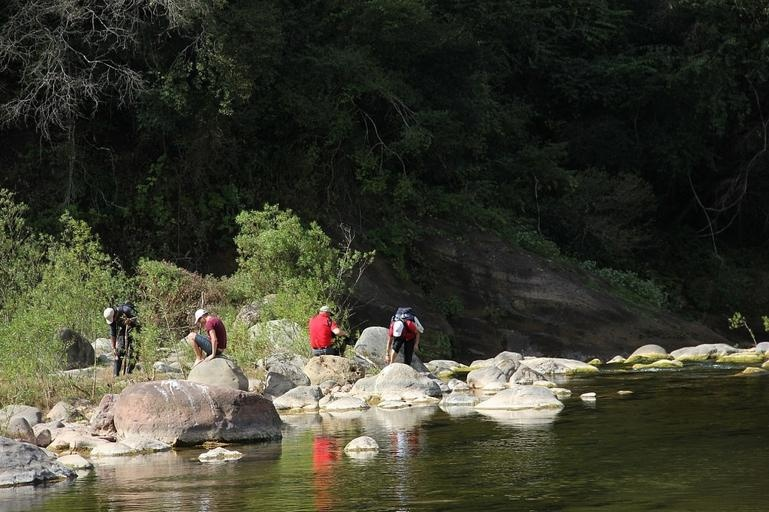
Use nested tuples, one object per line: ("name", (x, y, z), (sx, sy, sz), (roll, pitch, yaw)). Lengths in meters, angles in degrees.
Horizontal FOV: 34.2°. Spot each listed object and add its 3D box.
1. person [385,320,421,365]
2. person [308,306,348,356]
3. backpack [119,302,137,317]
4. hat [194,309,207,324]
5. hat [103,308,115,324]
("person", (0.533, 2.721, 39.947), (1.094, 1.393, 0.853), (-1, -7, -19))
("person", (-1.983, 2.343, 39.716), (0.786, 1.521, 1.058), (-3, -7, -9))
("backpack", (-7.964, 1.664, 38.664), (0.405, 0.554, 0.735), (-12, -4, 14))
("hat", (-5.568, 1.796, 37.570), (0.482, 0.253, 0.356), (-39, -9, 17))
("hat", (-8.438, 1.767, 38.130), (0.304, 0.487, 0.453), (-2, -7, -16))
